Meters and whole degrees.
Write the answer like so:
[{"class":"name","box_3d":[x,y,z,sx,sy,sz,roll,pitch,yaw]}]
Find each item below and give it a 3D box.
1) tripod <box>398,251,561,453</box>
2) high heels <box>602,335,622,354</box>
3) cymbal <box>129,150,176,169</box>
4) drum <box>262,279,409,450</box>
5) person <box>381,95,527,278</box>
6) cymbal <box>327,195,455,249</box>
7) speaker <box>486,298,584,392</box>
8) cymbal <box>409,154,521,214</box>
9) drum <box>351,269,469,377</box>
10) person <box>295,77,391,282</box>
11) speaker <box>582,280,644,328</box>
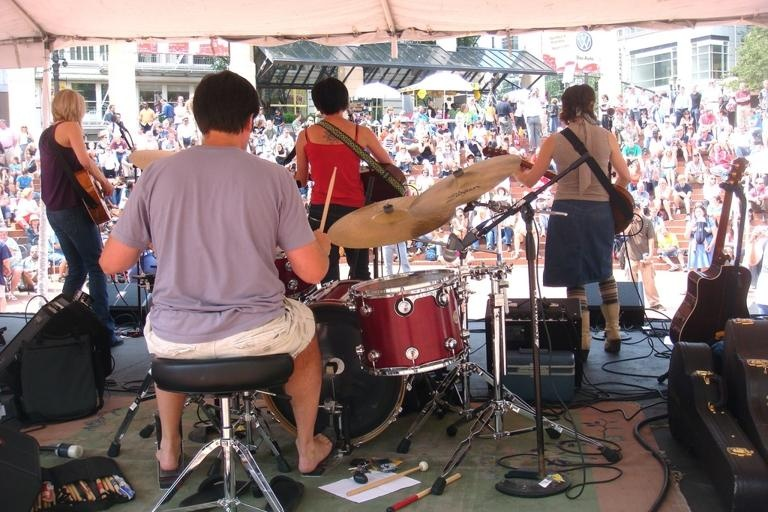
[{"class":"tripod","box_3d":[0.745,0.532,5.120,1.164,1.480,1.018,6,8,43]},{"class":"high heels","box_3d":[1.833,0.723,5.943,0.084,0.118,0.171,0,5,4]},{"class":"cymbal","box_3d":[-1.455,-0.597,4.622,0.306,0.081,0.292,-5,7,8]},{"class":"drum","box_3d":[-0.091,0.670,4.916,1.183,1.255,0.892,1,7,6]},{"class":"person","box_3d":[0.377,-0.329,4.287,0.718,0.257,0.606,-31,15,-10]},{"class":"cymbal","box_3d":[0.014,-0.234,4.571,0.789,0.168,0.779,-17,15,-40]},{"class":"speaker","box_3d":[1.006,0.614,4.950,0.673,0.650,0.380,0,7,5]},{"class":"cymbal","box_3d":[0.476,-0.396,4.198,0.424,0.128,0.396,-20,3,-26]},{"class":"drum","box_3d":[0.116,0.438,4.591,0.747,0.548,0.723,-8,2,0]},{"class":"person","box_3d":[-0.327,-0.448,5.665,0.651,1.823,0.538,-4,35,-8]},{"class":"speaker","box_3d":[2.131,0.425,6.854,0.474,0.338,0.511,-5,46,10]}]
